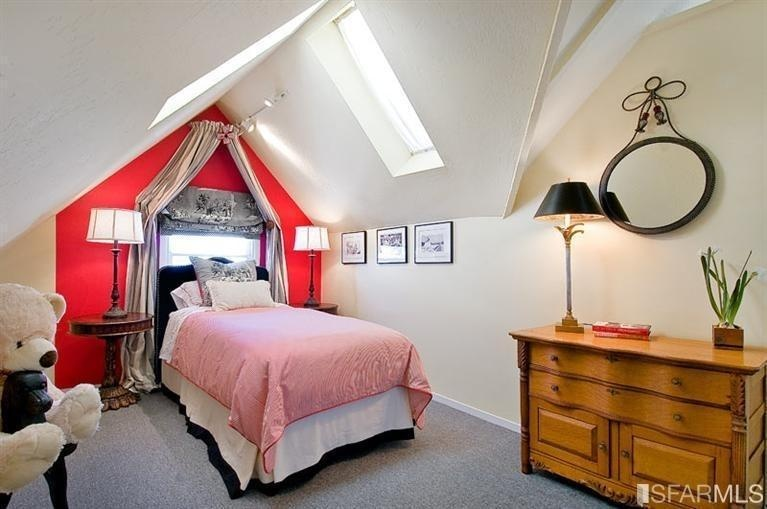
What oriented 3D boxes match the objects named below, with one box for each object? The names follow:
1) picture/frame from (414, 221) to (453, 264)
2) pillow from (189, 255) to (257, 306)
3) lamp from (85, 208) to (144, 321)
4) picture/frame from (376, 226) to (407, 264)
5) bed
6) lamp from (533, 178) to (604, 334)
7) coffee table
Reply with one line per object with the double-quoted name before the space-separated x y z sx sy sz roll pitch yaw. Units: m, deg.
"picture/frame" 0.472 -0.110 5.186 0.462 0.395 0.020 -2 -1 43
"pillow" -1.695 0.194 5.464 0.554 0.516 0.175 -1 -23 -43
"lamp" -2.523 0.069 5.008 0.456 1.050 0.726 -6 15 -25
"picture/frame" 0.073 -0.101 5.640 0.440 0.367 0.023 -3 4 -44
"bed" -0.957 1.036 4.276 1.192 0.755 1.764 1 -5 -39
"lamp" 1.390 -0.017 4.039 0.492 1.078 0.586 6 15 21
"coffee table" -2.551 0.973 4.911 0.658 0.768 0.667 2 2 -1
